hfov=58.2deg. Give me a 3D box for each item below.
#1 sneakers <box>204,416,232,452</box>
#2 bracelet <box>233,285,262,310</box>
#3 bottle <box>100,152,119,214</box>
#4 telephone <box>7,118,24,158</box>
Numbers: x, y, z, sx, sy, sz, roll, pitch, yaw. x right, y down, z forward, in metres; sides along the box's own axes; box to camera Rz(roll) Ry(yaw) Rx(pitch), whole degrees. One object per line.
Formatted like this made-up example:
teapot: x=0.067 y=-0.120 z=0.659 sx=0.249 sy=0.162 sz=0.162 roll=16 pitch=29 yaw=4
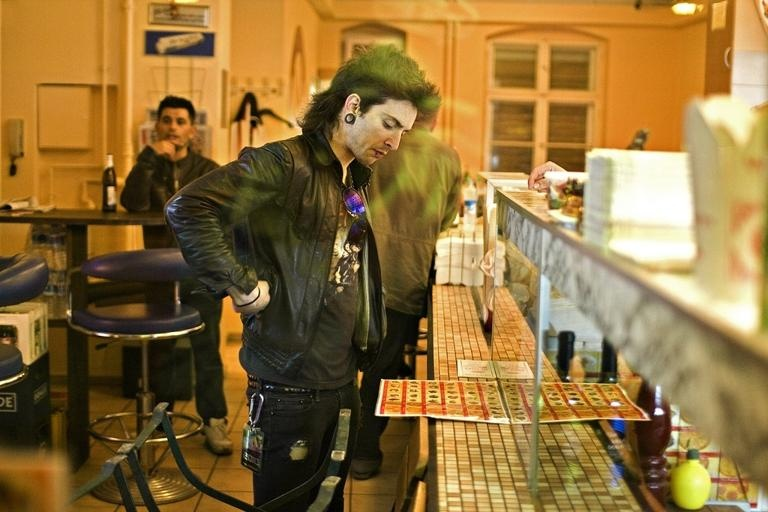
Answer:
sneakers: x=-0.916 y=0.973 z=3.743 sx=0.091 sy=0.104 sz=0.263 roll=2 pitch=4 yaw=-30
bracelet: x=-0.382 y=0.121 z=1.952 sx=0.065 sy=0.067 sz=0.016 roll=25 pitch=34 yaw=-37
bottle: x=-1.615 y=-0.432 z=4.054 sx=0.080 sy=0.322 sz=0.243 roll=-4 pitch=12 yaw=-22
telephone: x=-2.621 y=-0.834 z=4.917 sx=0.119 sy=0.276 sz=0.043 roll=0 pitch=11 yaw=1
